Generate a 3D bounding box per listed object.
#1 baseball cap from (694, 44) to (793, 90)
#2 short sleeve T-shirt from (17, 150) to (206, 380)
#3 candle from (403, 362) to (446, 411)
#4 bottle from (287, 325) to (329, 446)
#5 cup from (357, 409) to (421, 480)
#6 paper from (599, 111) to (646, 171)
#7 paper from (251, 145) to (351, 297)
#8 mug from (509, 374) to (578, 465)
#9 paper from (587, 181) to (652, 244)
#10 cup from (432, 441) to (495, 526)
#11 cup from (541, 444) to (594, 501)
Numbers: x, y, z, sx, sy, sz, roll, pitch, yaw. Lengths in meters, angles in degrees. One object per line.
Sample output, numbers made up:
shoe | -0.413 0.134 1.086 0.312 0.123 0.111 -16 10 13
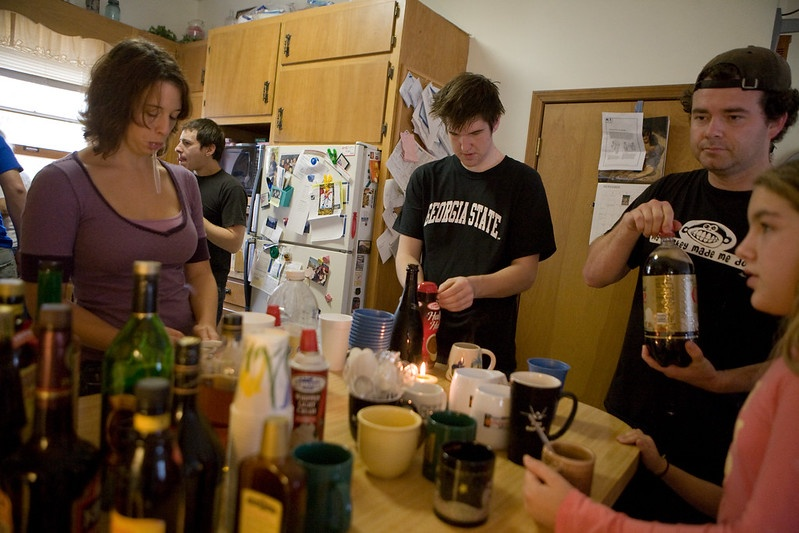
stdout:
baseball cap | 1.131 -0.627 1.698 0.229 0.096 0.165 -18 27 -31
short sleeve T-shirt | -0.796 -0.010 1.466 0.316 0.629 0.591 10 12 29
candle | 0.069 0.302 1.313 0.083 0.067 0.066 4 13 20
bottle | -0.205 0.287 1.186 0.085 0.271 0.258 3 5 -7
cup | -0.029 0.386 1.234 0.148 0.122 0.149 2 -1 0
paper | 1.302 -0.721 3.057 0.326 0.434 0.056 4 5 26
paper | -0.663 -0.109 3.609 0.685 1.218 0.544 6 -20 -9
mug | 0.392 0.397 1.327 0.186 0.206 0.119 13 -14 -37
paper | 1.030 -0.263 2.470 0.307 0.350 0.027 22 16 40
cup | 0.137 0.456 1.169 0.151 0.170 0.148 5 9 -1
cup | 0.382 0.468 1.200 0.115 0.114 0.094 8 11 25
